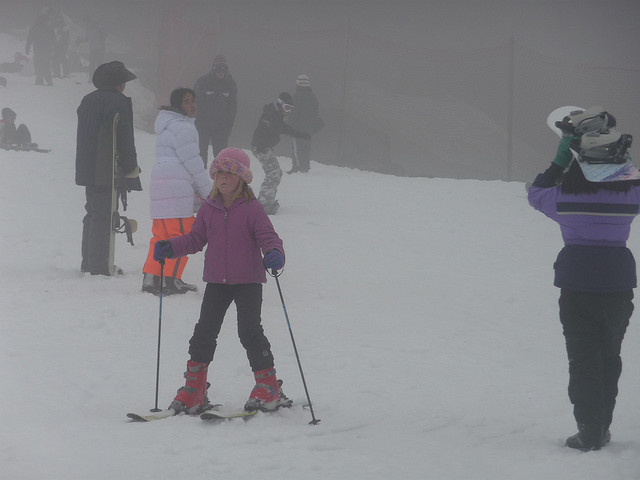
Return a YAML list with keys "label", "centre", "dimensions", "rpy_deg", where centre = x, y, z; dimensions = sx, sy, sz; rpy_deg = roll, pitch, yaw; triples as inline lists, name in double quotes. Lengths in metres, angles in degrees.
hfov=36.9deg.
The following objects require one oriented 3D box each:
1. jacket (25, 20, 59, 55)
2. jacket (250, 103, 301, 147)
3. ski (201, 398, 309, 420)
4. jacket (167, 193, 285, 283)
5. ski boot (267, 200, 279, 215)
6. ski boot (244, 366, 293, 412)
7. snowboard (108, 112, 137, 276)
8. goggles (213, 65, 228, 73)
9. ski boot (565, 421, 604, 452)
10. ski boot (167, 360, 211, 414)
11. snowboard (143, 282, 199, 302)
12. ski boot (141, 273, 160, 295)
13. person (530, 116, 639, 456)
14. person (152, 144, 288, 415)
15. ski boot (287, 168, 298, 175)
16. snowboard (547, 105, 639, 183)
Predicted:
- label: "jacket"
  centre: [-4.241, -3.111, 14.649]
  dimensions: [0.479, 0.170, 0.899]
  rpy_deg: [-13, 2, -29]
- label: "jacket"
  centre: [-0.589, -1.473, 12.363]
  dimensions: [0.631, 0.570, 0.267]
  rpy_deg: [-2, 6, -39]
- label: "ski"
  centre: [-0.490, 1.306, 7.396]
  dimensions: [0.855, 0.103, 0.235]
  rpy_deg: [0, 2, -28]
- label: "jacket"
  centre: [-0.697, -0.014, 7.488]
  dimensions: [1.064, 0.710, 0.503]
  rpy_deg: [2, 8, 21]
- label: "ski boot"
  centre: [-0.593, -0.409, 12.253]
  dimensions: [0.120, 0.172, 0.176]
  rpy_deg: [5, -38, 3]
- label: "ski boot"
  centre: [-0.372, 1.165, 7.540]
  dimensions: [0.211, 0.326, 0.566]
  rpy_deg: [3, -9, 23]
- label: "snowboard"
  centre: [-1.961, -0.471, 9.760]
  dimensions: [0.331, 1.561, 0.310]
  rpy_deg: [-2, 7, -40]
- label: "goggles"
  centre: [-1.298, -2.237, 12.586]
  dimensions: [0.191, 0.094, 0.120]
  rpy_deg: [0, 5, -22]
- label: "ski boot"
  centre: [1.933, 1.414, 6.918]
  dimensions: [0.291, 0.243, 0.150]
  rpy_deg: [10, 7, 30]
- label: "ski boot"
  centre: [-1.008, 1.116, 7.406]
  dimensions: [0.168, 0.353, 0.462]
  rpy_deg: [-1, 1, 20]
- label: "snowboard"
  centre: [-1.460, 0.505, 9.253]
  dimensions: [0.520, 0.174, 0.148]
  rpy_deg: [-17, 9, -23]
- label: "ski boot"
  centre: [-1.643, 0.433, 9.361]
  dimensions: [0.233, 0.164, 0.222]
  rpy_deg: [4, -3, -27]
- label: "person"
  centre: [1.914, 0.322, 6.972]
  dimensions: [0.708, 2.419, 0.423]
  rpy_deg: [3, 5, 13]
- label: "person"
  centre: [-0.735, 0.310, 7.372]
  dimensions: [0.944, 2.030, 0.468]
  rpy_deg: [1, 5, -5]
- label: "ski boot"
  centre: [-0.416, -1.041, 14.592]
  dimensions: [0.108, 0.096, 0.269]
  rpy_deg: [3, 5, 20]
- label: "snowboard"
  centre: [2.030, -0.699, 7.042]
  dimensions: [0.622, 0.557, 0.264]
  rpy_deg: [3, 5, 19]
